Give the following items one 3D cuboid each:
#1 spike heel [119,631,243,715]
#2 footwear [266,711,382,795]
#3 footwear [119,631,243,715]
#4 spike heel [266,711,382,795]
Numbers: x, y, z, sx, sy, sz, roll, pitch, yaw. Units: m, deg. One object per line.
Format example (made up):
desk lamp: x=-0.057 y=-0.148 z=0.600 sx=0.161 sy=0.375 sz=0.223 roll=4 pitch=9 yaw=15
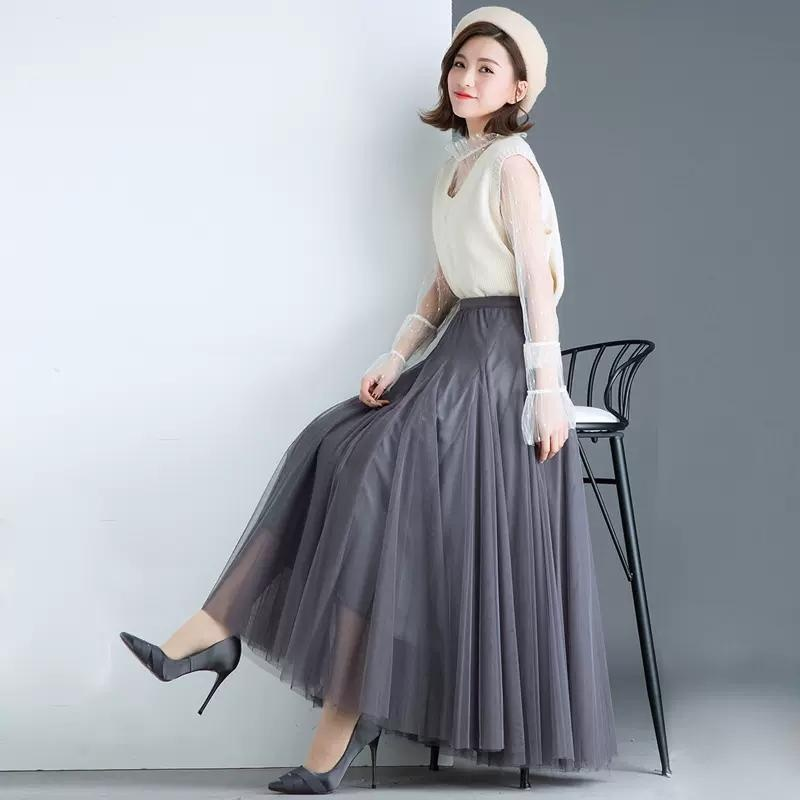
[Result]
spike heel: x=-0.541 y=0.665 z=2.325 sx=0.298 sy=0.169 sz=0.105 roll=40 pitch=-27 yaw=-22
footwear: x=-0.167 y=0.793 z=2.182 sx=0.291 sy=0.193 sz=0.119 roll=-3 pitch=-9 yaw=-15
footwear: x=-0.541 y=0.665 z=2.325 sx=0.298 sy=0.169 sz=0.105 roll=40 pitch=-27 yaw=-22
spike heel: x=-0.165 y=0.793 z=2.183 sx=0.291 sy=0.193 sz=0.119 roll=-3 pitch=-9 yaw=-15
